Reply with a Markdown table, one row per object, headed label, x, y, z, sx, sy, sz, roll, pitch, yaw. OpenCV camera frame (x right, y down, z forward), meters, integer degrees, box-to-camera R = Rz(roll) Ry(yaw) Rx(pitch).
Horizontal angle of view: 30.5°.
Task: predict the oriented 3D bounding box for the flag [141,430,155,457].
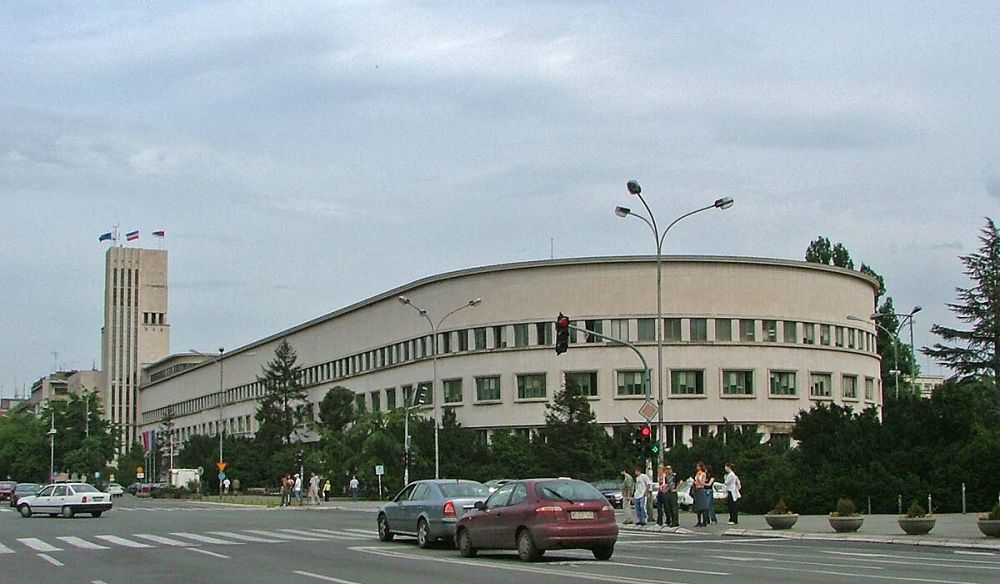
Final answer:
| label | x | y | z | sx | sy | sz | roll | pitch | yaw |
| --- | --- | --- | --- | --- | --- | --- | --- | --- | --- |
| flag | -49.922 | 21.334 | 259.567 | 0.230 | 2.969 | 4.355 | 6 | -13 | -33 |

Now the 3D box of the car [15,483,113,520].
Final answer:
| label | x | y | z | sx | sy | sz | roll | pitch | yaw |
| --- | --- | --- | --- | --- | --- | --- | --- | --- | --- |
| car | -38.843 | 18.516 | 164.336 | 7.771 | 2.955 | 1.783 | -1 | -12 | 5 |
